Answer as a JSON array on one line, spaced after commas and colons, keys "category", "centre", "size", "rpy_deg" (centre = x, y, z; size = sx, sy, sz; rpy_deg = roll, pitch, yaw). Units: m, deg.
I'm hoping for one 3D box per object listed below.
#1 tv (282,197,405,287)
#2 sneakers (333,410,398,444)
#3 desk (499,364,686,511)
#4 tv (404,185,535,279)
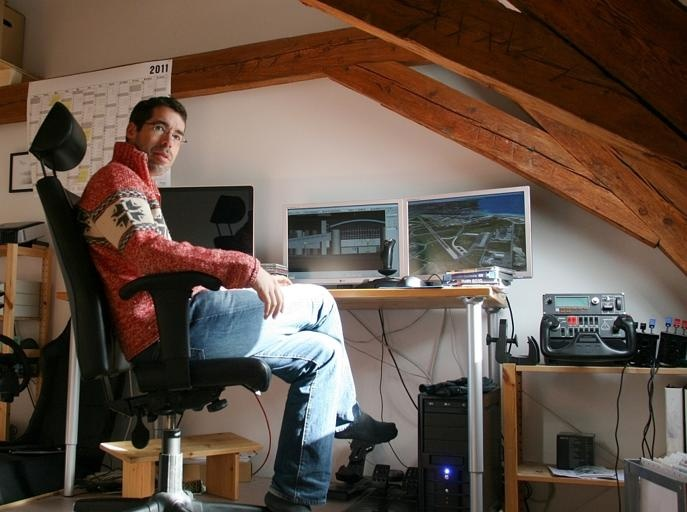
[{"category": "tv", "centre": [-0.015, -0.073, 3.204], "size": [0.794, 0.444, 0.016], "rpy_deg": [-1, 0, 34]}, {"category": "sneakers", "centre": [0.090, 0.720, 2.575], "size": [0.338, 0.183, 0.107], "rpy_deg": [8, -4, -25]}, {"category": "desk", "centre": [1.168, 0.846, 2.681], "size": [0.991, 0.721, 0.288], "rpy_deg": [0, -8, 8]}, {"category": "tv", "centre": [0.632, -0.116, 3.044], "size": [0.739, 0.458, 0.064], "rpy_deg": [-3, -5, 39]}]
